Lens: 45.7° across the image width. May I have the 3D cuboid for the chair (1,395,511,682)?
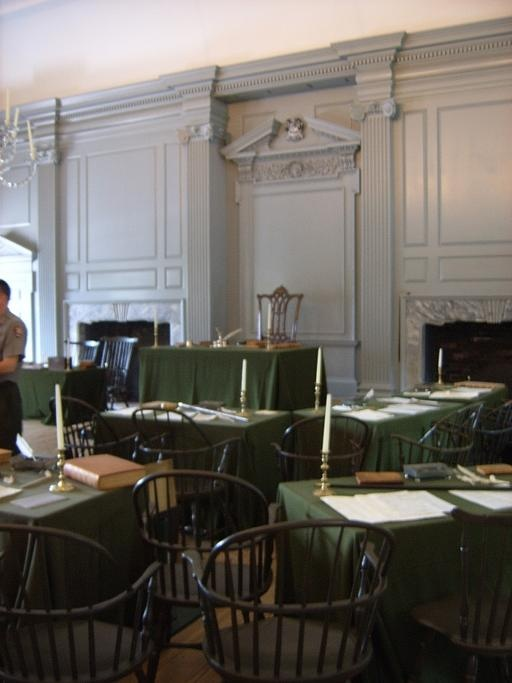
[{"bbox_3d":[0.136,0.709,1.917,1.265,0.659,0.695,0,0,19],"label":"chair"}]
